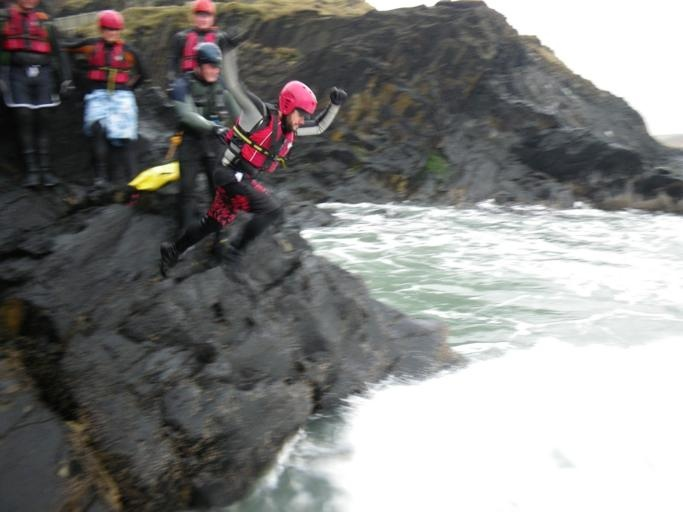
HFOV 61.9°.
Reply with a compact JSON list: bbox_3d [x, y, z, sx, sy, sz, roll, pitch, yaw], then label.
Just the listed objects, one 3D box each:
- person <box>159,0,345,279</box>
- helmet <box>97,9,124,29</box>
[{"bbox_3d":[-1.036,-0.950,6.111,1.179,2.313,0.857,16,35,-18],"label":"person"},{"bbox_3d":[-3.062,-3.136,7.581,0.292,0.228,0.379,6,29,-23],"label":"helmet"}]
